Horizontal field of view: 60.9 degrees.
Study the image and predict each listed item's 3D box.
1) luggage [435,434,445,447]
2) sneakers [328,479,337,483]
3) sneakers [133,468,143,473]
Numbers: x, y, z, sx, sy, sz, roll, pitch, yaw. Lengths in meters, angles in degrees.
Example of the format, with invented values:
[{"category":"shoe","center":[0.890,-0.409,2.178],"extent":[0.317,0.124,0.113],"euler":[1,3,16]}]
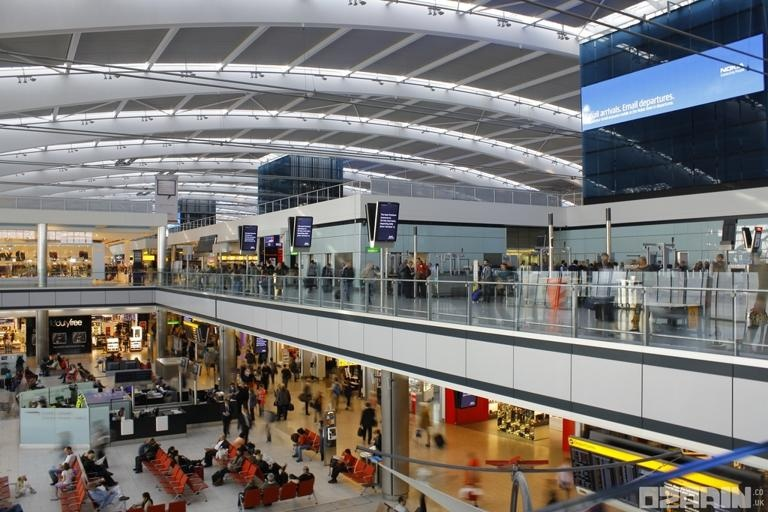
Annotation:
[{"category":"luggage","center":[2.320,7.763,27.354],"extent":[0.401,0.398,0.371],"euler":[-3,-1,7]},{"category":"sneakers","center":[-1.926,8.469,24.538],"extent":[0.360,0.227,0.125],"euler":[4,-6,-3]},{"category":"sneakers","center":[-9.543,8.344,25.375],"extent":[0.394,0.246,0.133],"euler":[5,-7,-2]}]
